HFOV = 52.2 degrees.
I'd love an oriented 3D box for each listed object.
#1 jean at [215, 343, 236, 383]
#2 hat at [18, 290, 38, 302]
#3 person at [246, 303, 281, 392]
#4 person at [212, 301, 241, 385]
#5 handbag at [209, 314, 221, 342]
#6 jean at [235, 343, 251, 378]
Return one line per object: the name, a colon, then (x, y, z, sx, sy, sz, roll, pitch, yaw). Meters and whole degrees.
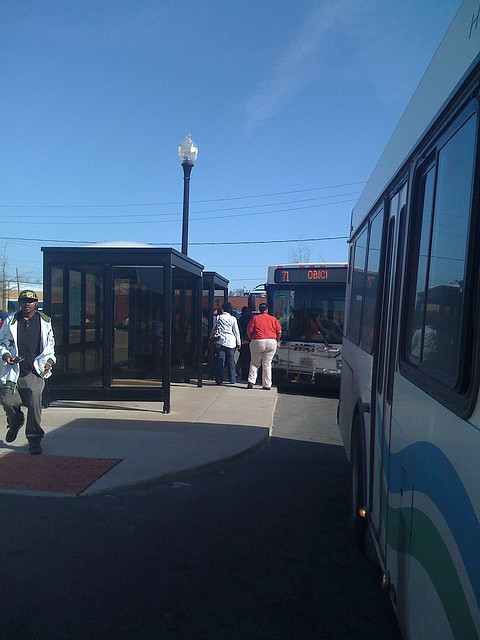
jean: (-0.378, 1.047, 12.093, 0.503, 1.544, 0.440, 7, -38, -12)
hat: (-2.645, -0.302, 6.129, 0.155, 0.164, 0.258, -1, -9, -10)
person: (0.521, 0.626, 11.453, 0.760, 1.984, 0.997, 1, 0, 1)
person: (-0.338, 0.596, 12.066, 0.661, 2.017, 0.803, 1, 0, 23)
handbag: (-0.597, 0.244, 11.856, 0.155, 0.646, 0.319, 1, 0, -43)
jean: (0.081, 1.126, 13.381, 0.382, 0.930, 0.599, 1, 0, -31)
